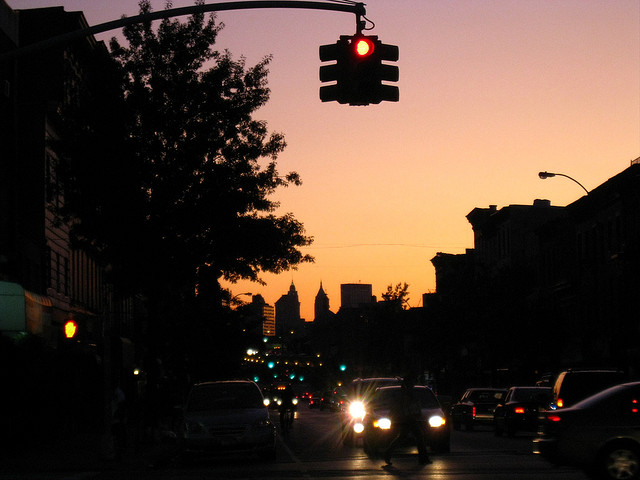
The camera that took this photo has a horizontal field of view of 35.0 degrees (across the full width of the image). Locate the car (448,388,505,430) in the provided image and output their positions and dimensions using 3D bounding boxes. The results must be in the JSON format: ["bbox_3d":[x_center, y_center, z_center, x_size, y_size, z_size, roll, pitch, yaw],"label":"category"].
[{"bbox_3d":[6.503,7.146,42.903,1.570,1.312,2.894,1,-5,-4],"label":"car"}]

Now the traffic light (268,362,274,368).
[{"bbox_3d":[-2.670,6.894,56.155,0.264,0.285,0.324,15,-9,-8],"label":"traffic light"}]

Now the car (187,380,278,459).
[{"bbox_3d":[-2.648,5.075,28.059,2.411,2.357,4.806,-2,-12,-10],"label":"car"}]

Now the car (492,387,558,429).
[{"bbox_3d":[7.034,5.804,34.552,1.722,1.466,4.295,-1,-5,4],"label":"car"}]

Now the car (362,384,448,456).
[{"bbox_3d":[2.334,4.735,27.095,1.533,1.430,2.851,-1,-18,-2],"label":"car"}]
